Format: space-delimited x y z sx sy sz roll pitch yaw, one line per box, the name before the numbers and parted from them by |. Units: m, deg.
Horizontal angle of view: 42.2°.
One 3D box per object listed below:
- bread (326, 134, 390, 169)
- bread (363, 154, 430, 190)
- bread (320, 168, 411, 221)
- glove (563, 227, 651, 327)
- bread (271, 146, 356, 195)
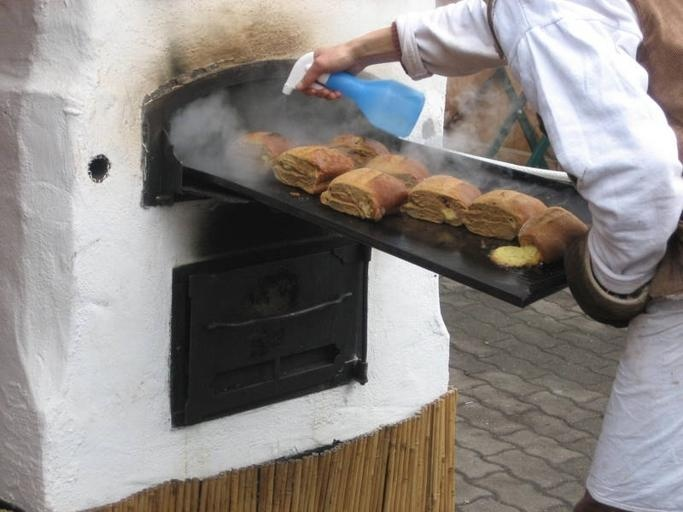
bread | 0.055 -0.357 3.031 0.120 0.056 0.163 -19 31 -33
bread | 0.180 -0.285 2.889 0.158 0.053 0.118 25 34 34
bread | 0.068 -0.186 2.663 0.170 0.089 0.179 15 26 26
glove | 0.719 0.069 2.385 0.195 0.265 0.152 -5 1 0
bread | -0.101 -0.267 2.812 0.164 0.112 0.203 15 25 34
